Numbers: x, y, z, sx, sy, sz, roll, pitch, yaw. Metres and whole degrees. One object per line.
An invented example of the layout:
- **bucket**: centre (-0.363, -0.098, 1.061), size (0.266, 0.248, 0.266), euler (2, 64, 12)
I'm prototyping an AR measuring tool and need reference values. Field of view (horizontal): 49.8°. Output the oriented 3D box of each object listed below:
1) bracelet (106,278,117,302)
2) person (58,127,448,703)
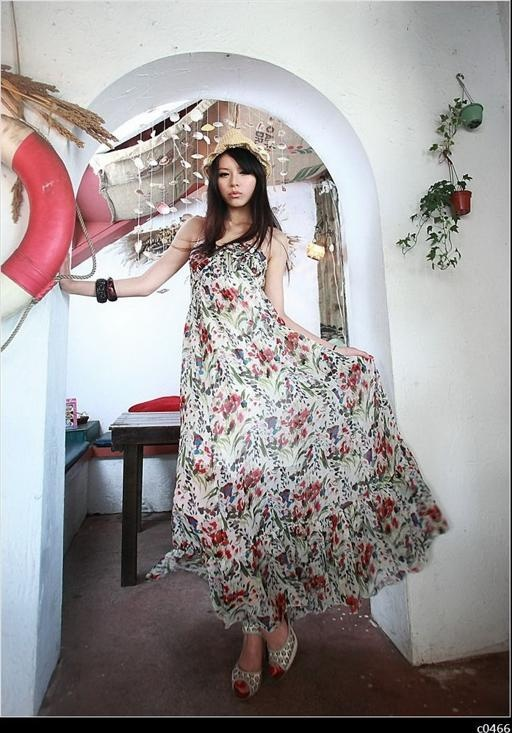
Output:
- **bracelet**: centre (-0.488, -0.266, 1.887), size (0.024, 0.066, 0.049), euler (-1, 0, -6)
- **person**: centre (0.067, 0.071, 1.915), size (0.908, 1.762, 0.629), euler (-1, 5, -22)
